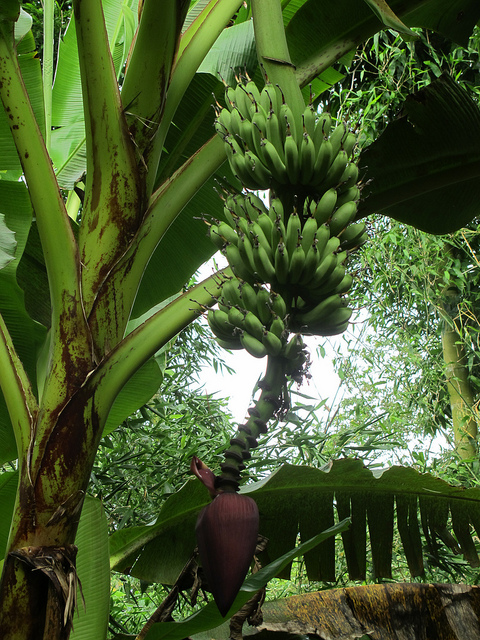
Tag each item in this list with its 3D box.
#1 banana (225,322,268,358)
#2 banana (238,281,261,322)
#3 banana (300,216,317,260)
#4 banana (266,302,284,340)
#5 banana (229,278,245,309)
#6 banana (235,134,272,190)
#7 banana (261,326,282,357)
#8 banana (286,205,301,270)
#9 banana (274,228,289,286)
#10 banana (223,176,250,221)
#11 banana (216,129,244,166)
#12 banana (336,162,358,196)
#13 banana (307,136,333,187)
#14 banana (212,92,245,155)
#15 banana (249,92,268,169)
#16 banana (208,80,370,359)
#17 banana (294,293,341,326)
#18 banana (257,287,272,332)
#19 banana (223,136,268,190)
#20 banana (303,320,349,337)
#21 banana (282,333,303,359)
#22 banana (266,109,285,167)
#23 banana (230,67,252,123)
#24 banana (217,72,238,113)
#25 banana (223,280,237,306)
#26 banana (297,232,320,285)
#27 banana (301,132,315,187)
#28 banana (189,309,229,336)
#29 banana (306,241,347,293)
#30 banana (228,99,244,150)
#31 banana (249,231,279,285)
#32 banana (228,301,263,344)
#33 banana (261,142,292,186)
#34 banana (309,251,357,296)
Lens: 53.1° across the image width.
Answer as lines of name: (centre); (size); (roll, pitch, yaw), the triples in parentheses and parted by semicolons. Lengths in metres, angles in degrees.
banana: (0.005, 0.026, 0.818); (0.025, 0.089, 0.023); (-22, -39, -38)
banana: (0.014, -0.038, 0.825); (0.024, 0.077, 0.029); (-17, 3, 24)
banana: (0.118, -0.153, 0.842); (0.022, 0.089, 0.032); (7, -9, -4)
banana: (0.056, -0.001, 0.785); (0.020, 0.060, 0.021); (3, -56, -12)
banana: (-0.008, -0.051, 0.860); (0.022, 0.061, 0.015); (-14, -4, 12)
banana: (0.036, -0.296, 0.923); (0.027, 0.112, 0.048); (-25, 2, 16)
banana: (0.058, 0.035, 0.795); (0.019, 0.020, 0.050); (-39, -63, -15)
banana: (0.090, -0.147, 0.849); (0.019, 0.115, 0.021); (6, -5, -4)
banana: (0.075, -0.109, 0.812); (0.020, 0.081, 0.032); (-2, 1, 7)
banana: (-0.006, -0.237, 0.936); (0.016, 0.106, 0.022); (-24, -19, -25)
banana: (-0.030, -0.371, 1.001); (0.034, 0.094, 0.025); (-14, -25, -43)
banana: (0.214, -0.288, 0.962); (0.035, 0.025, 0.093); (-41, -5, 15)
banana: (0.148, -0.287, 0.872); (0.025, 0.036, 0.101); (7, -53, -11)
banana: (-0.049, -0.433, 1.029); (0.032, 0.208, 0.027); (-26, -28, -6)
banana: (0.033, -0.363, 0.907); (0.018, 0.132, 0.020); (-4, -9, -42)
banana: (0.120, -0.232, 0.927); (0.213, 0.387, 0.173); (0, 13, 21)
banana: (0.139, -0.019, 0.866); (0.023, 0.040, 0.095); (27, -46, -32)
banana: (0.043, -0.018, 0.806); (0.021, 0.024, 0.074); (-4, -70, 5)
banana: (0.015, -0.323, 0.967); (0.034, 0.154, 0.065); (-31, -44, -7)
banana: (0.147, 0.012, 0.851); (0.089, 0.030, 0.020); (-1, -35, 2)
banana: (0.084, 0.043, 0.757); (0.016, 0.024, 0.053); (14, -53, -23)
banana: (0.065, -0.362, 0.925); (0.025, 0.117, 0.043); (-10, -9, 5)
banana: (0.003, -0.460, 0.991); (0.024, 0.137, 0.020); (-26, -12, 31)
banana: (-0.038, -0.503, 1.060); (0.021, 0.129, 0.019); (-41, -44, 18)
banana: (-0.022, -0.051, 0.878); (0.021, 0.054, 0.015); (-18, -3, 15)
banana: (0.102, -0.105, 0.829); (0.023, 0.037, 0.092); (10, -52, -8)
banana: (0.110, -0.291, 0.855); (0.022, 0.031, 0.087); (-1, -59, -4)
banana: (-0.061, 0.005, 0.954); (0.016, 0.103, 0.011); (-47, 0, 3)
banana: (0.143, -0.087, 0.822); (0.025, 0.042, 0.100); (18, -65, -32)
banana: (-0.009, -0.405, 0.968); (0.017, 0.076, 0.031); (-19, -14, 28)
banana: (0.041, -0.099, 0.835); (0.030, 0.106, 0.046); (-14, -14, 5)
banana: (0.009, 0.005, 0.798); (0.018, 0.067, 0.025); (-46, -26, 20)
banana: (0.063, -0.287, 0.878); (0.024, 0.035, 0.101); (-31, -42, 6)
banana: (0.154, -0.070, 0.878); (0.030, 0.051, 0.107); (30, -67, -29)
